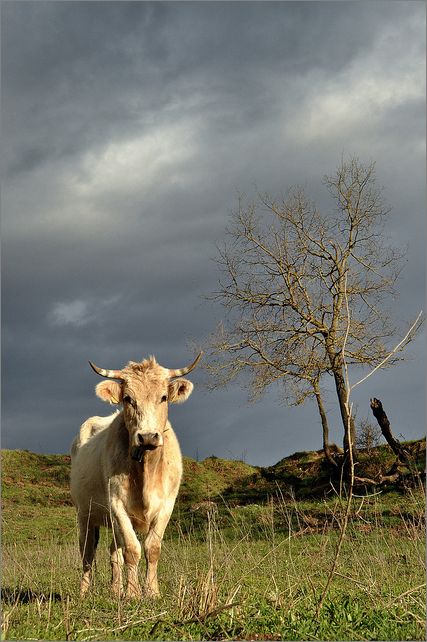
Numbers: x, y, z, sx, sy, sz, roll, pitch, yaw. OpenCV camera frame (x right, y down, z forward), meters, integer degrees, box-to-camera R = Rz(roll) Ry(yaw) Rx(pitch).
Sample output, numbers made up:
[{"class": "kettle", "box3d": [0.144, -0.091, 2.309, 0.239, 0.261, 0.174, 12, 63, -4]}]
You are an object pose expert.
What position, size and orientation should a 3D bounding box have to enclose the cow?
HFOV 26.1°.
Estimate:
[{"class": "cow", "box3d": [-1.105, 1.918, 11.653, 1.420, 2.860, 3.486, -2, -6, -9]}]
